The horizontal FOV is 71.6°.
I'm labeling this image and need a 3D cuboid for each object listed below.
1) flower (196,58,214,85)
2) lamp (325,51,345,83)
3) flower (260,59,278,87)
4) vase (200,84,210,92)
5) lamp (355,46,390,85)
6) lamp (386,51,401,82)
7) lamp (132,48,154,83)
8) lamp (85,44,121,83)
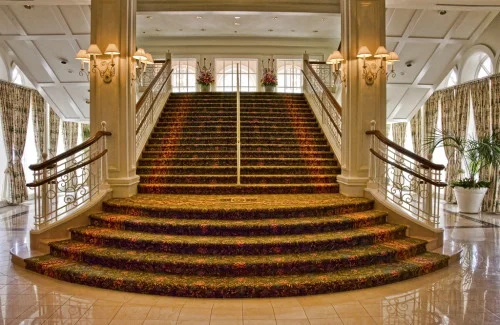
[{"bbox_3d":[-1.657,-3.252,12.861,0.603,0.890,0.613,-10,-12,41],"label":"flower"},{"bbox_3d":[2.238,-2.343,8.757,0.439,0.708,0.764,-1,3,-6],"label":"lamp"},{"bbox_3d":[0.731,-3.175,12.875,0.548,0.786,0.483,-7,-1,-36],"label":"flower"},{"bbox_3d":[-1.652,-2.738,12.681,0.303,0.335,0.295,-6,10,-25],"label":"vase"},{"bbox_3d":[2.805,-2.221,7.959,0.773,0.747,0.496,5,34,22],"label":"lamp"},{"bbox_3d":[3.421,-2.318,8.258,0.340,0.585,0.358,5,7,42],"label":"lamp"},{"bbox_3d":[-2.683,-2.347,8.580,0.629,0.743,0.733,9,11,-17],"label":"lamp"},{"bbox_3d":[-3.186,-2.145,7.547,0.724,0.718,0.406,-4,-1,-3],"label":"lamp"}]
